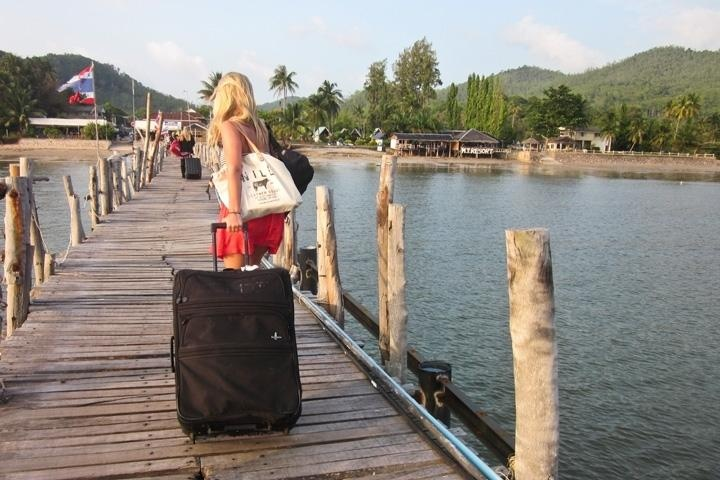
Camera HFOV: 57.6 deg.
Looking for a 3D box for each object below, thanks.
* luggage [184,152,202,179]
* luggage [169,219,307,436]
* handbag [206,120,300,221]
[{"bbox_3d":[-5.355,-2.315,21.241,0.537,0.796,0.953,-1,12,-17],"label":"luggage"},{"bbox_3d":[-1.199,0.790,6.287,1.110,2.036,0.857,-3,0,-11],"label":"luggage"},{"bbox_3d":[-1.062,-0.668,6.548,0.735,1.079,0.367,-13,-10,-21],"label":"handbag"}]
